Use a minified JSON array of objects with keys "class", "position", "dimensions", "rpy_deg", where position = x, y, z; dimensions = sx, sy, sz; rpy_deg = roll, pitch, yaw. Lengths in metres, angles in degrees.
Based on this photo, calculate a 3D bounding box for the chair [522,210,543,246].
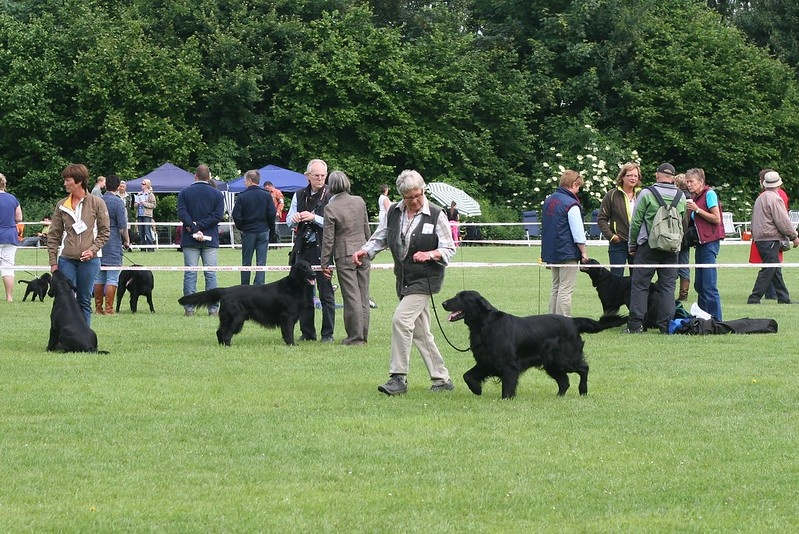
[{"class":"chair","position":[5.113,-1.618,55.592],"dimensions":[1.159,1.140,1.519],"rpy_deg":[-6,-13,7]}]

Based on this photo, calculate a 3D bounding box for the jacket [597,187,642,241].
[{"class":"jacket","position":[5.383,-1.275,34.620],"dimensions":[1.266,1.449,0.652],"rpy_deg":[1,-3,-21]}]

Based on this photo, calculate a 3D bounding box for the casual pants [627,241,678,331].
[{"class":"casual pants","position":[6.003,0.363,33.569],"dimensions":[1.037,2.189,0.640],"rpy_deg":[-1,20,-2]}]

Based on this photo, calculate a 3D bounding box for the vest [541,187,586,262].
[{"class":"vest","position":[3.836,-0.984,33.585],"dimensions":[0.897,1.726,1.275],"rpy_deg":[-5,8,-31]}]

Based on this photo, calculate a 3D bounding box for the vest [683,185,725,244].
[{"class":"vest","position":[7.566,-1.257,35.223],"dimensions":[0.801,1.342,1.250],"rpy_deg":[-4,-1,0]}]

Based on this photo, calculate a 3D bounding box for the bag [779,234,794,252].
[{"class":"bag","position":[9.857,-0.580,36.365],"dimensions":[0.304,0.380,0.406],"rpy_deg":[0,5,-39]}]

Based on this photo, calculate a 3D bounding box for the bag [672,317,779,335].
[{"class":"bag","position":[7.690,1.425,33.684],"dimensions":[1.660,0.267,0.891],"rpy_deg":[-1,0,-1]}]

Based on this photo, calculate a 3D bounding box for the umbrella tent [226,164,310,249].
[{"class":"umbrella tent","position":[-4.987,-2.033,52.053],"dimensions":[3.531,2.510,3.280],"rpy_deg":[-1,5,-15]}]

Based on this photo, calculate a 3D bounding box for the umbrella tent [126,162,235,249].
[{"class":"umbrella tent","position":[-8.507,-2.633,52.717],"dimensions":[3.841,2.320,3.702],"rpy_deg":[-5,4,-14]}]

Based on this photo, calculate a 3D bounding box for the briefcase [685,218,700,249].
[{"class":"briefcase","position":[7.170,-0.863,35.023],"dimensions":[0.407,0.751,0.541],"rpy_deg":[-1,18,-4]}]

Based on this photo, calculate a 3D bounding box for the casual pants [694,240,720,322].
[{"class":"casual pants","position":[7.380,0.333,34.525],"dimensions":[0.496,2.071,0.623],"rpy_deg":[-14,15,-34]}]

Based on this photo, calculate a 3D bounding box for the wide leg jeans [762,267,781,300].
[{"class":"wide leg jeans","position":[9.728,0.613,37.338],"dimensions":[0.332,0.506,0.447],"rpy_deg":[-5,0,10]}]
